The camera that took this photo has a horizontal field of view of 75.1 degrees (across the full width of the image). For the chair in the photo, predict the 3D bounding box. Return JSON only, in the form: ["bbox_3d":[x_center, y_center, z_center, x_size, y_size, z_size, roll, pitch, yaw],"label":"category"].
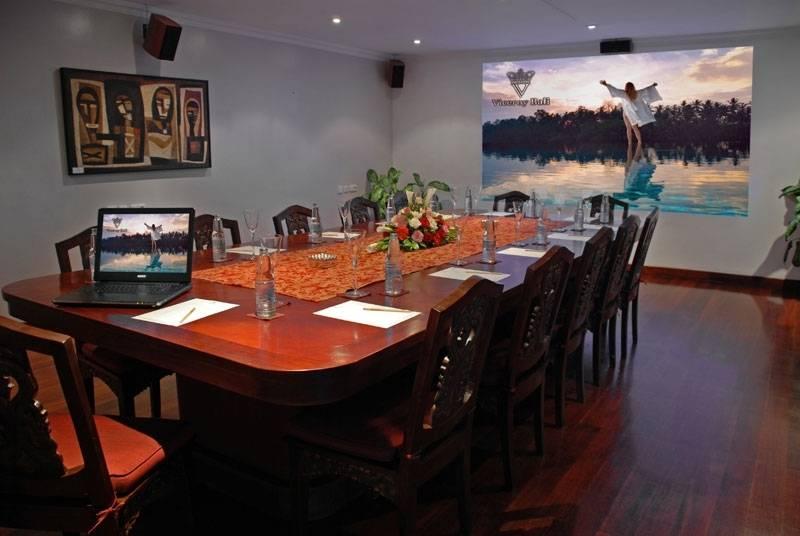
[{"bbox_3d":[-0.662,0.386,2.733,2.781,1.159,1.352,0,10,11],"label":"chair"}]

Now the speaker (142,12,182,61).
[{"bbox_3d":[-2.398,-2.325,5.285,0.482,0.426,0.212,7,13,42],"label":"speaker"}]

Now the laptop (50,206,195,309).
[{"bbox_3d":[-1.385,-0.076,2.744,0.602,0.449,0.526,2,9,8],"label":"laptop"}]

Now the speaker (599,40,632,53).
[{"bbox_3d":[2.847,-2.926,6.932,0.395,0.187,0.117,2,11,22],"label":"speaker"}]

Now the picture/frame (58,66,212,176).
[{"bbox_3d":[-2.754,-1.508,5.365,0.043,0.803,1.298,9,14,37],"label":"picture/frame"}]

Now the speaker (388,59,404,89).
[{"bbox_3d":[-0.072,-3.067,8.248,0.276,0.445,0.255,-2,10,4],"label":"speaker"}]
